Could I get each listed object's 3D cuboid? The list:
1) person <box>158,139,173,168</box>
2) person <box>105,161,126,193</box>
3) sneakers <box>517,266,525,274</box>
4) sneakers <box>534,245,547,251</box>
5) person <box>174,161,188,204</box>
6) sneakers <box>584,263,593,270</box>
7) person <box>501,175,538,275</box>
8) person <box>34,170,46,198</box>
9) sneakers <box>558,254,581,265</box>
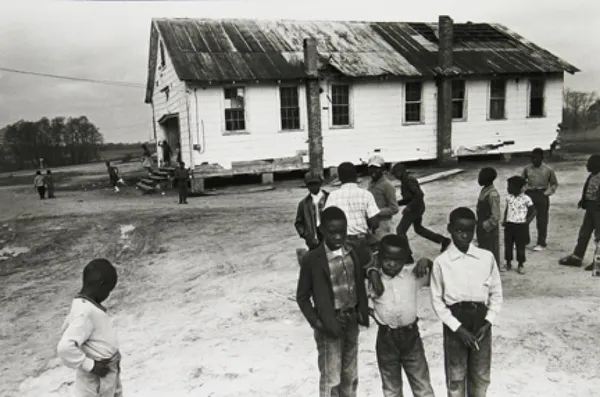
[{"bbox_3d":[-5.791,-2.002,28.980,0.429,1.086,1.547,-5,11,-11],"label":"person"},{"bbox_3d":[-8.560,-0.986,31.014,1.268,0.768,1.780,19,12,-26],"label":"person"},{"bbox_3d":[5.131,1.635,15.668,0.169,0.178,0.304,0,11,17],"label":"sneakers"},{"bbox_3d":[6.042,1.248,16.962,0.297,0.119,0.114,0,3,-8],"label":"sneakers"},{"bbox_3d":[-3.954,-0.541,22.643,0.445,1.235,0.326,-1,1,-14],"label":"person"},{"bbox_3d":[6.682,1.558,15.576,0.170,0.189,0.317,1,11,22],"label":"sneakers"},{"bbox_3d":[5.055,0.570,15.740,0.604,2.212,0.689,3,12,29],"label":"person"},{"bbox_3d":[-9.853,-0.543,25.479,0.351,1.044,0.927,-7,11,-21],"label":"person"},{"bbox_3d":[6.388,1.466,15.925,0.439,0.196,0.232,8,10,37],"label":"sneakers"}]
